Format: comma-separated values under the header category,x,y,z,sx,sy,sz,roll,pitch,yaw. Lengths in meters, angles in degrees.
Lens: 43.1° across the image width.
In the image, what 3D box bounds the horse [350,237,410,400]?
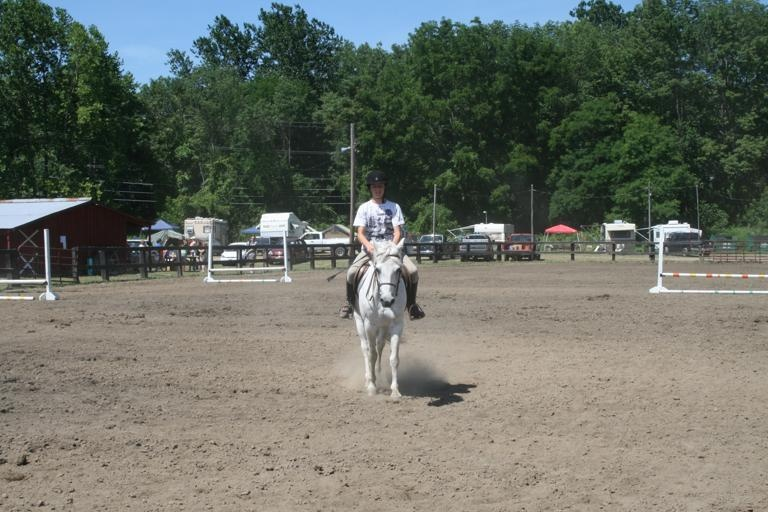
category,x,y,z,sx,sy,sz,roll,pitch,yaw
horse,-0.147,2.405,37.655,1.802,6.075,0.962,1,2,15

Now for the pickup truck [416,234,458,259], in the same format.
category,x,y,z,sx,sy,sz,roll,pitch,yaw
pickup truck,3.807,-0.812,71.543,1.820,1.546,3.357,-1,-2,13

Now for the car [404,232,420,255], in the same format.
category,x,y,z,sx,sy,sz,roll,pitch,yaw
car,2.083,-0.904,72.109,1.493,1.156,2.471,2,5,-1

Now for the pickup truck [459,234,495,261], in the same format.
category,x,y,z,sx,sy,sz,roll,pitch,yaw
pickup truck,6.867,-0.560,72.341,1.615,1.542,3.649,0,2,6

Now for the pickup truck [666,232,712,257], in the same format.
category,x,y,z,sx,sy,sz,roll,pitch,yaw
pickup truck,23.931,-0.899,77.099,1.890,1.552,3.356,-1,5,-13

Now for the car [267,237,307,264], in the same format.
category,x,y,z,sx,sy,sz,roll,pitch,yaw
car,-6.110,-0.440,64.324,1.794,1.626,3.345,-1,-4,21

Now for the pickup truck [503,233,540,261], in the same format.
category,x,y,z,sx,sy,sz,roll,pitch,yaw
pickup truck,10.257,-0.664,72.948,1.921,1.870,4.112,0,3,13
